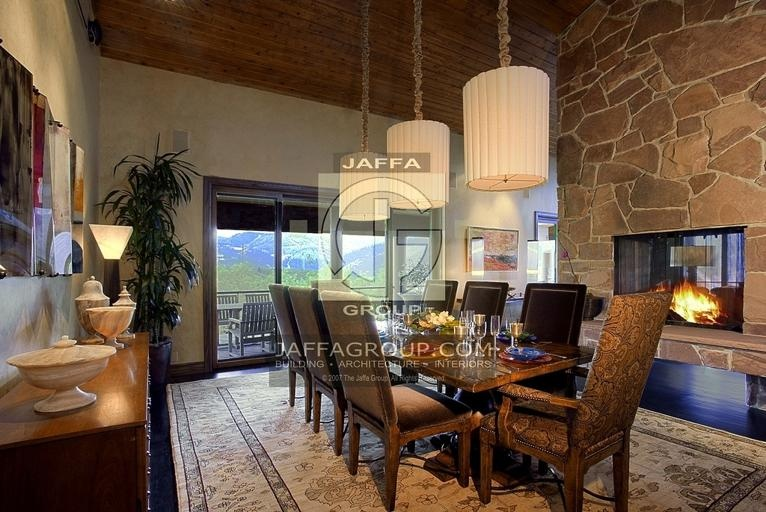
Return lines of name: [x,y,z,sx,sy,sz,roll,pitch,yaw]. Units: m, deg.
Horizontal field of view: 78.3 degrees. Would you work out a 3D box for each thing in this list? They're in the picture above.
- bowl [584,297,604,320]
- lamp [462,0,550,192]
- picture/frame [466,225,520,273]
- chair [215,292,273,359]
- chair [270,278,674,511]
bowl: [2.427,0.617,5.475,0.244,0.225,0.284,-1,-6,20]
lamp: [0.958,-1.225,3.657,0.663,1.426,0.454,2,10,15]
picture/frame: [1.926,-0.071,8.221,1.182,0.765,0.035,1,-3,-30]
chair: [-1.803,0.902,6.621,0.884,1.158,0.796,2,-3,-36]
chair: [0.857,0.996,3.261,1.975,1.563,0.837,3,11,21]
